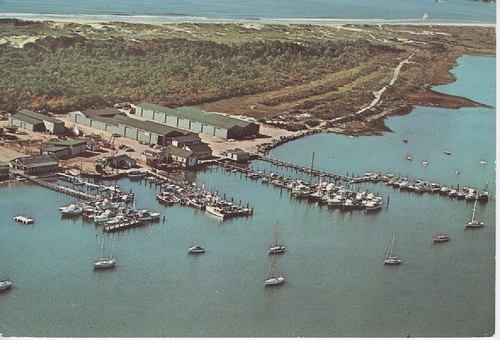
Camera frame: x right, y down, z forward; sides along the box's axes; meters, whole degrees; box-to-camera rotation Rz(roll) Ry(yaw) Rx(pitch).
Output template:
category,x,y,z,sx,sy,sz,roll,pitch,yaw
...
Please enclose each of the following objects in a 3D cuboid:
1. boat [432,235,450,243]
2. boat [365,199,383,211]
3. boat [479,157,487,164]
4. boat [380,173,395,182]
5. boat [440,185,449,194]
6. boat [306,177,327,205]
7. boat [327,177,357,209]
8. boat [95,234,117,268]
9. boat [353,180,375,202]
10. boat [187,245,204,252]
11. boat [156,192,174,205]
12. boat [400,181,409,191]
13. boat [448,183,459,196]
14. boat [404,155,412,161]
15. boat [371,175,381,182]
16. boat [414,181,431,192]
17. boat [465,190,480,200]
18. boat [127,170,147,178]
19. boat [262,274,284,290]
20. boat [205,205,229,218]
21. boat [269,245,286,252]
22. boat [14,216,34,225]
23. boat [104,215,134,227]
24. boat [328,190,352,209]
category,x,y,z,sx,sy,sz,roll,pitch,yaw
boat,7.792,2.809,29.925,0.559,0.149,0.298,-5,15,-14
boat,5.447,1.562,32.185,0.325,0.248,0.972,7,5,36
boat,11.588,-0.398,36.534,0.325,0.165,0.366,4,14,9
boat,6.521,0.356,34.866,0.384,0.209,0.523,7,16,35
boat,9.039,0.968,34.186,0.384,0.245,0.458,5,15,13
boat,2.980,1.052,32.456,0.419,0.479,1.406,20,30,18
boat,4.064,1.053,32.523,0.535,0.775,2.138,20,33,36
boat,-5.174,3.210,26.808,0.694,0.432,1.127,1,14,-4
boat,5.037,1.182,32.641,0.930,0.816,0.382,-2,7,4
boat,-1.980,2.968,27.563,0.738,0.252,0.200,-1,8,-8
boat,-3.402,1.198,30.496,0.703,0.404,0.479,9,16,25
boat,7.171,0.766,34.232,0.348,0.150,0.424,7,19,31
boat,9.507,0.964,34.239,0.474,0.291,1.043,6,14,16
boat,8.046,-0.582,37.344,0.403,0.161,0.481,7,15,21
boat,5.941,0.424,34.594,0.317,0.087,0.301,13,20,29
boat,8.022,0.837,34.227,0.880,0.332,0.371,-10,19,-40
boat,10.260,1.172,33.802,0.391,0.169,0.481,10,23,29
boat,-4.883,0.184,32.059,0.712,0.230,0.336,0,2,9
boat,0.871,4.037,26.547,0.745,0.227,0.365,-15,21,-31
boat,-1.336,1.669,30.081,1.050,0.279,0.315,21,24,19
boat,1.058,3.022,28.051,0.466,0.138,0.203,-3,16,-7
boat,-8.462,1.894,27.846,0.598,0.219,0.481,-6,16,-28
boat,-5.086,1.992,28.630,1.176,0.292,0.364,-8,18,-36
boat,4.007,1.299,32.360,0.444,0.386,1.463,6,11,34
